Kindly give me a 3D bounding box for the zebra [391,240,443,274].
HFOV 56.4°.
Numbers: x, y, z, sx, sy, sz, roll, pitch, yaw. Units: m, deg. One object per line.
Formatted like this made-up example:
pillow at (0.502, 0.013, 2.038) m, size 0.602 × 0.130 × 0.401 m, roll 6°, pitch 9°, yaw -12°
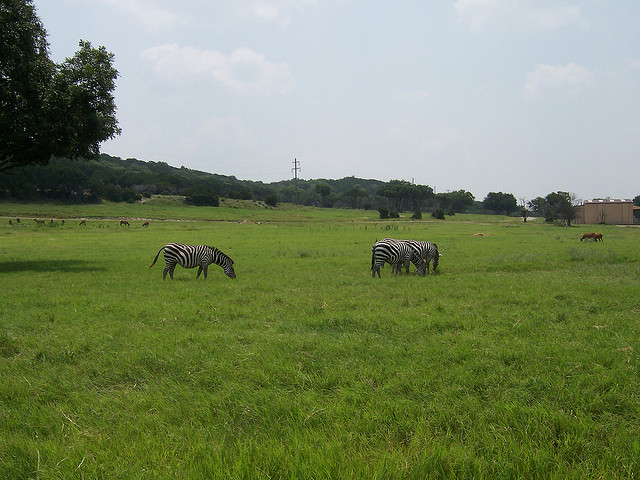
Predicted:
zebra at (5.120, 0.917, 30.855) m, size 2.751 × 1.628 × 0.761 m, roll -3°, pitch 7°, yaw 40°
